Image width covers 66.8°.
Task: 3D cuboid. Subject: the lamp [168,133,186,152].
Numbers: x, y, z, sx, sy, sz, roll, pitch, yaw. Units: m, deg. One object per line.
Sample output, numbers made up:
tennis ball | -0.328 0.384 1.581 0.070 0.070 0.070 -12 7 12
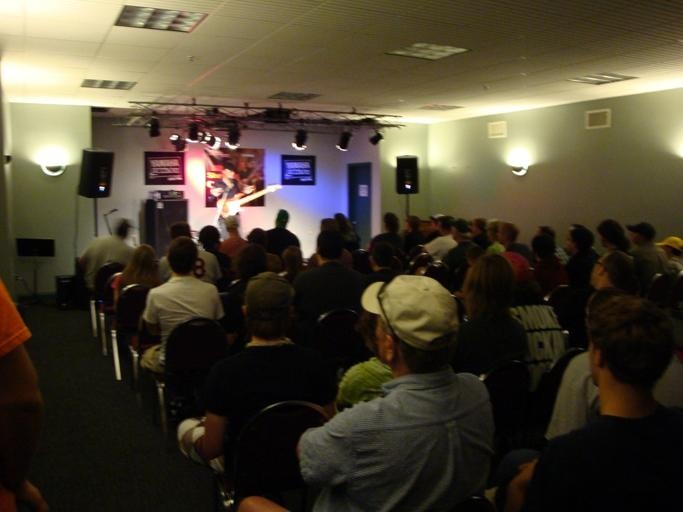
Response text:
lamp | -3.517 -2.421 11.153 0.443 0.206 0.621 26 2 -29

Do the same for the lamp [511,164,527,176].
lamp | 3.639 -1.726 10.650 0.105 0.215 0.409 -3 8 -22

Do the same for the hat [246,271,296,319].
hat | -0.363 0.148 2.599 0.284 0.154 0.388 1 22 -5

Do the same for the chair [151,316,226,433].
chair | -1.106 0.842 3.793 0.619 0.837 0.608 1 0 3

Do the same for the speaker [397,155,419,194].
speaker | 1.554 -1.895 12.271 0.505 0.899 0.306 0 8 1

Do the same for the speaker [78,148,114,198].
speaker | -4.179 -1.391 8.827 0.570 0.797 0.351 -3 8 -22

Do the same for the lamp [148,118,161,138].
lamp | -3.486 -2.398 9.687 0.167 0.326 0.496 -3 8 -23
